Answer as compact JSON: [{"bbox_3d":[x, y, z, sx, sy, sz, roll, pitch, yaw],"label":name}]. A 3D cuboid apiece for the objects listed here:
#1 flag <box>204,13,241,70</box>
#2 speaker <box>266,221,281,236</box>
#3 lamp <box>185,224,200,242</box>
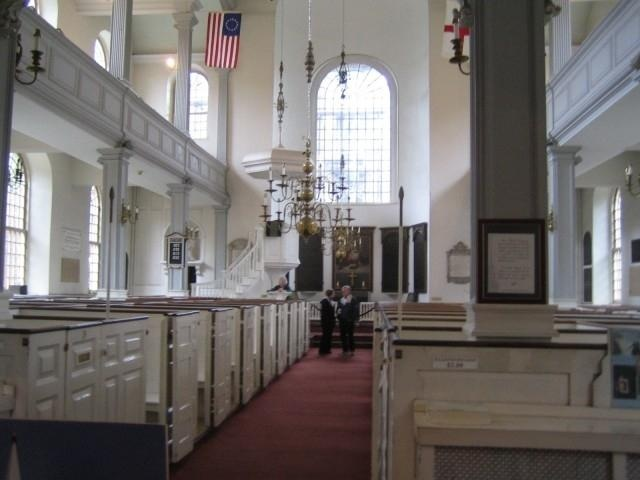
[{"bbox_3d":[-2.655,-5.412,16.013,1.119,1.127,0.661,-10,-4,-4],"label":"flag"},{"bbox_3d":[-1.246,-0.283,15.733,0.355,0.380,0.186,4,-8,-34],"label":"speaker"},{"bbox_3d":[-3.985,-0.268,18.457,0.561,0.688,0.136,9,-9,-9],"label":"lamp"}]
